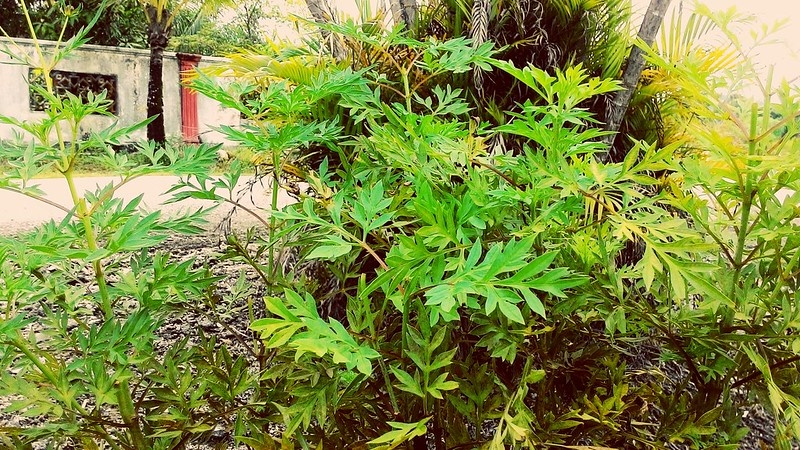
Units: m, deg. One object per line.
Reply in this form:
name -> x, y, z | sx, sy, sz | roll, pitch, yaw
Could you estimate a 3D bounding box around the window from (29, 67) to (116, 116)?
window -> -8.227, -3.365, 13.063 | 2.393, 1.206, 0.055 | 2, -1, 3
